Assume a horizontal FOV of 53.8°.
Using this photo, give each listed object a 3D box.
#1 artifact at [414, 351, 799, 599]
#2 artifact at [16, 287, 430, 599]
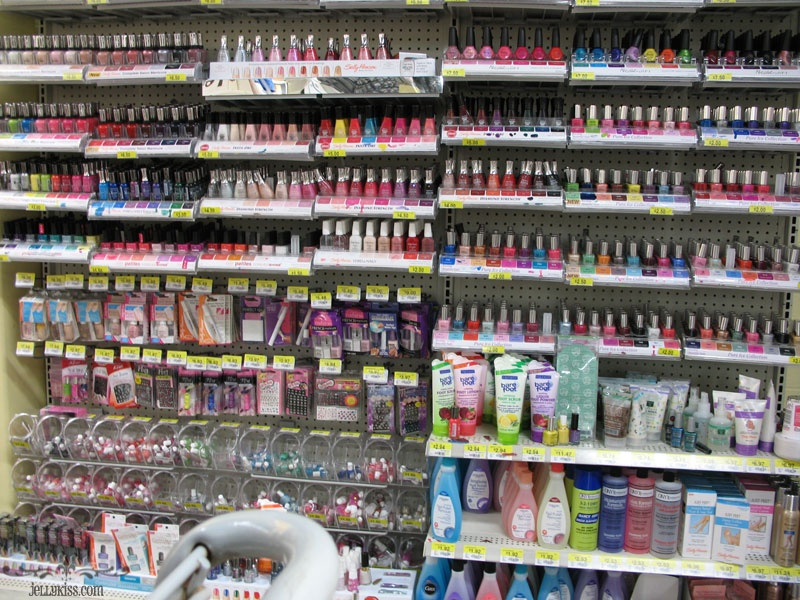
[{"bbox_3d":[1.115,0.966,4.214,2.010,1.278,0.581,3,3,4],"label":"artifact"},{"bbox_3d":[-1.077,0.994,5.055,1.805,2.084,0.460,-4,1,8],"label":"artifact"}]
